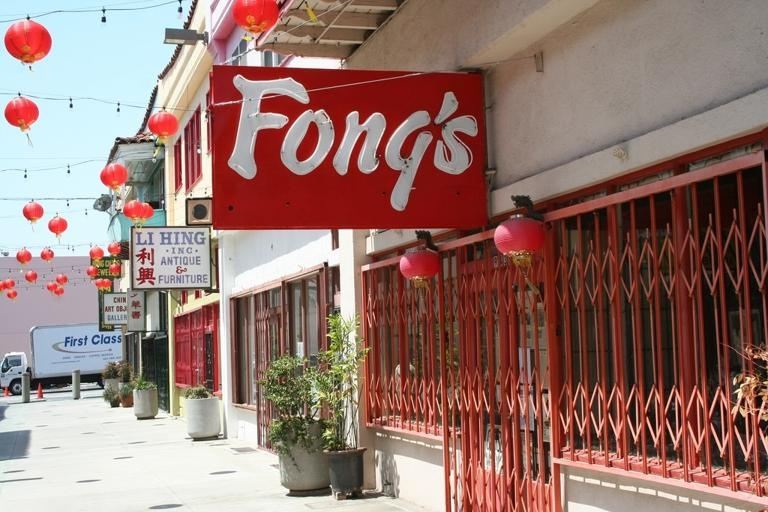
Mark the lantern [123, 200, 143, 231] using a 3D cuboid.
[{"bbox_3d":[-5.660,-1.049,19.742,0.399,0.564,0.669,1,-9,-15],"label":"lantern"}]

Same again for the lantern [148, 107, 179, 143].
[{"bbox_3d":[-3.921,-2.330,15.547,0.438,0.771,0.564,4,-10,-31],"label":"lantern"}]

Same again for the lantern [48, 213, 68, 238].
[{"bbox_3d":[-8.111,-0.754,21.728,0.414,0.443,0.271,-8,-10,36],"label":"lantern"}]

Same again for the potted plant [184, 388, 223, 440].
[{"bbox_3d":[-4.387,3.859,21.160,0.797,1.269,0.805,0,-8,-10],"label":"potted plant"}]

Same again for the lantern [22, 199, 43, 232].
[{"bbox_3d":[-7.826,-0.971,19.506,0.351,0.618,0.605,3,-10,-26],"label":"lantern"}]

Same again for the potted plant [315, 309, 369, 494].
[{"bbox_3d":[-0.666,2.319,13.434,0.801,2.809,0.809,0,-8,-6],"label":"potted plant"}]

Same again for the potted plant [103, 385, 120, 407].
[{"bbox_3d":[-10.516,5.489,33.638,0.686,0.886,0.698,4,-10,-3],"label":"potted plant"}]

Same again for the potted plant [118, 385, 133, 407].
[{"bbox_3d":[-9.710,5.294,32.791,0.448,0.881,0.884,1,-9,-17],"label":"potted plant"}]

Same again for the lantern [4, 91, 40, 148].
[{"bbox_3d":[-5.309,-2.073,12.758,0.410,0.562,0.320,2,-9,-22],"label":"lantern"}]

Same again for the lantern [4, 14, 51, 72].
[{"bbox_3d":[-4.428,-2.706,10.853,0.404,0.527,0.401,-6,-10,30],"label":"lantern"}]
